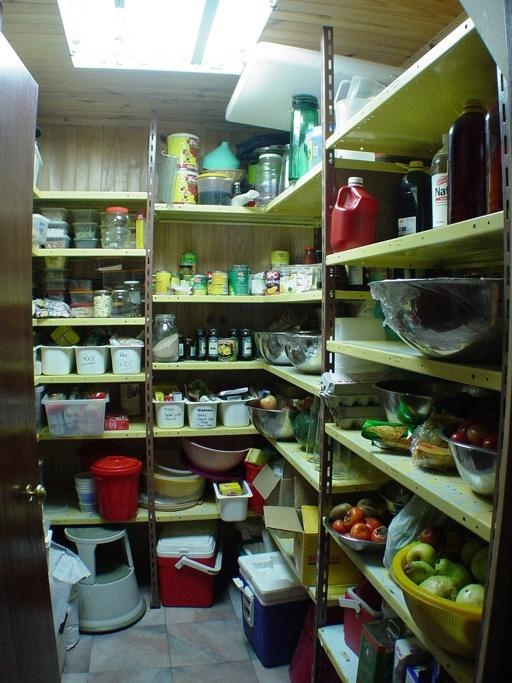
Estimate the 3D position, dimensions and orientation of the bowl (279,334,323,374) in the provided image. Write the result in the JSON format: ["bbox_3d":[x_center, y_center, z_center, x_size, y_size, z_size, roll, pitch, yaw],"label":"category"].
[{"bbox_3d":[0.165,0.039,1.993,0.141,0.089,0.139,1,-1,0],"label":"bowl"}]

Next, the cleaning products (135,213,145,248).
[{"bbox_3d":[-0.496,-0.473,2.351,0.035,0.154,0.083,-1,3,-9],"label":"cleaning products"}]

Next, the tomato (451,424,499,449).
[{"bbox_3d":[0.376,0.161,0.937,0.047,0.035,0.026,5,-17,32],"label":"tomato"}]

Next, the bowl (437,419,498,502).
[{"bbox_3d":[0.366,0.199,0.946,0.108,0.072,0.109,-1,3,0],"label":"bowl"}]

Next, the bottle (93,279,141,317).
[{"bbox_3d":[-0.623,-0.191,2.389,0.215,0.186,0.119,1,-2,-18],"label":"bottle"}]

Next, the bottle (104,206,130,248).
[{"bbox_3d":[-0.595,-0.487,2.385,0.124,0.174,0.136,0,3,0],"label":"bottle"}]

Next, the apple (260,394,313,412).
[{"bbox_3d":[0.111,0.248,2.227,0.141,0.050,0.081,2,-4,10],"label":"apple"}]

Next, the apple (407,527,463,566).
[{"bbox_3d":[0.353,0.387,1.098,0.086,0.068,0.071,-6,-3,23],"label":"apple"}]

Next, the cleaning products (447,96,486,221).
[{"bbox_3d":[0.363,-0.316,0.949,0.058,0.212,0.061,1,2,20],"label":"cleaning products"}]

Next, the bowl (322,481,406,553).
[{"bbox_3d":[0.302,0.454,1.443,0.161,0.063,0.161,-1,0,0],"label":"bowl"}]

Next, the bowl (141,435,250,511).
[{"bbox_3d":[-0.292,0.579,2.489,0.385,0.148,0.323,2,3,-7],"label":"bowl"}]
